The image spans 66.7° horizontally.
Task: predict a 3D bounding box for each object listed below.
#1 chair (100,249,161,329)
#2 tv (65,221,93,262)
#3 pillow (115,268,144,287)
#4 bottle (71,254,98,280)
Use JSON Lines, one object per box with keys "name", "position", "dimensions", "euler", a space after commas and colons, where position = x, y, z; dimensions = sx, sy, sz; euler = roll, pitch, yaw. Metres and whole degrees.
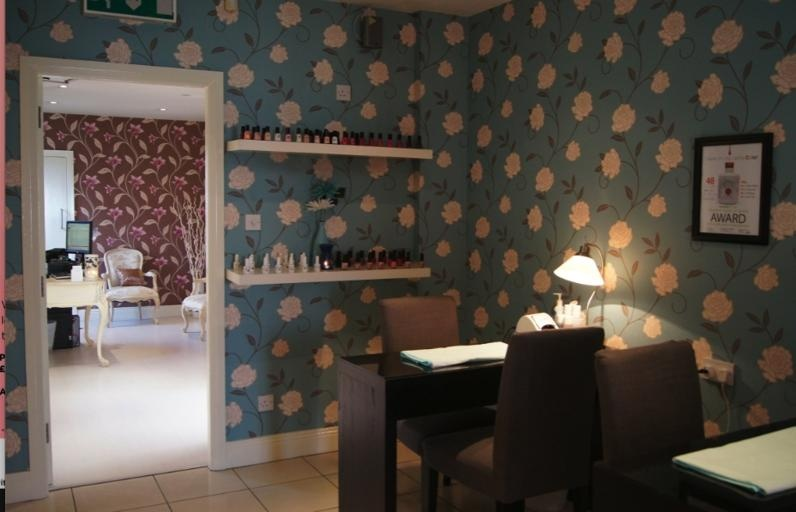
{"name": "chair", "position": [-3.778, 0.416, 8.468], "dimensions": [0.703, 0.985, 0.757], "euler": [-2, 6, -38]}
{"name": "tv", "position": [-4.131, -0.234, 7.830], "dimensions": [0.349, 0.398, 0.267], "euler": [0, 9, -7]}
{"name": "pillow", "position": [-3.757, 0.309, 8.544], "dimensions": [0.323, 0.238, 0.147], "euler": [-4, 10, -30]}
{"name": "bottle", "position": [-3.563, 0.134, 6.889], "dimensions": [0.282, 0.145, 0.152], "euler": [0, -25, 23]}
